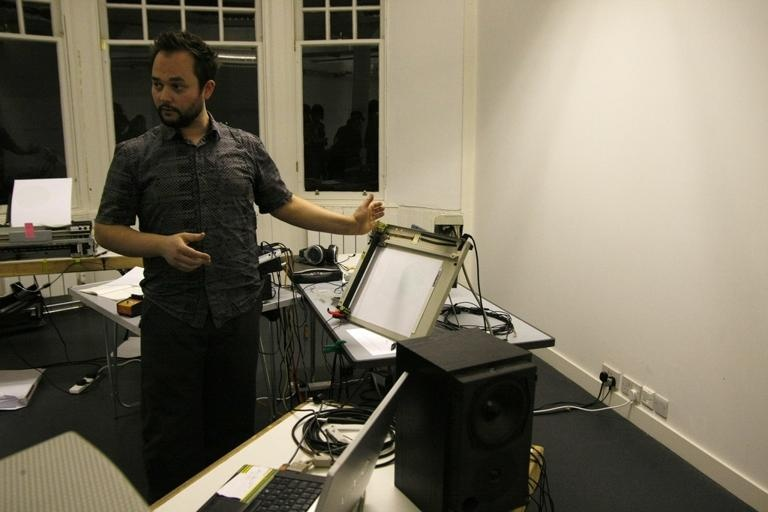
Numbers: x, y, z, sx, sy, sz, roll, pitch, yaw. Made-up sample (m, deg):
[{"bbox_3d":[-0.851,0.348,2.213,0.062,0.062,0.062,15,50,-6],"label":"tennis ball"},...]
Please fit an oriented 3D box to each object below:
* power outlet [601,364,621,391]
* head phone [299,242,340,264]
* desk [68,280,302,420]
[{"bbox_3d":[1.611,0.855,4.141,0.026,0.141,0.186,1,9,-24],"label":"power outlet"},{"bbox_3d":[-0.480,-0.032,4.213,0.156,0.090,0.176,-7,12,-27],"label":"head phone"},{"bbox_3d":[-1.409,0.374,4.013,1.174,0.902,1.140,-4,13,-30],"label":"desk"}]
